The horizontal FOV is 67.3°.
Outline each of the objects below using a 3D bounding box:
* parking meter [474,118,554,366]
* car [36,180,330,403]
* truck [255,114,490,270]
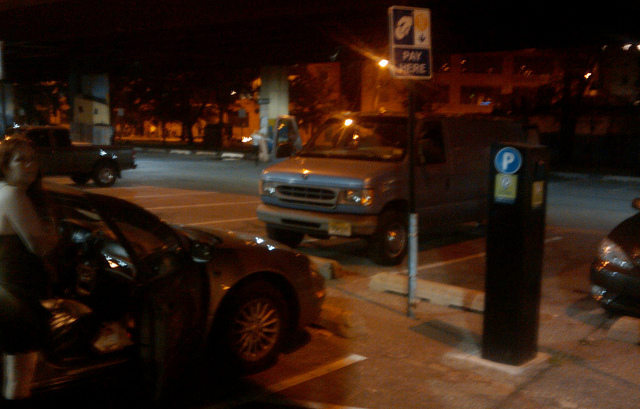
[{"bbox_3d":[2.185,0.577,5.447,0.726,2.504,0.571,5,13,23],"label":"parking meter"},{"bbox_3d":[-1.323,0.948,5.069,2.821,1.151,2.001,-8,13,-33],"label":"car"},{"bbox_3d":[1.408,-0.365,10.113,4.689,2.055,2.760,-3,6,-45],"label":"truck"}]
